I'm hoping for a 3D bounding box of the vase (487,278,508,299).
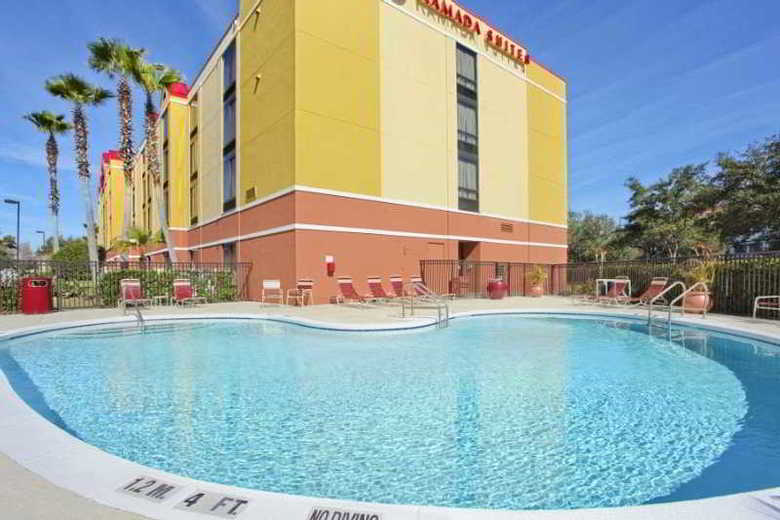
[{"bbox_3d":[5.568,1.516,26.418,0.991,1.010,0.997,-1,5,10],"label":"vase"}]

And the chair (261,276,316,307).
[{"bbox_3d":[-4.803,1.465,23.560,2.860,1.310,1.191,-4,-4,29],"label":"chair"}]

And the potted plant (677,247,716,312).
[{"bbox_3d":[12.009,0.913,19.741,1.207,1.557,3.273,-4,-4,33],"label":"potted plant"}]

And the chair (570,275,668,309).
[{"bbox_3d":[10.984,1.530,23.225,2.843,1.086,1.591,1,-5,-12],"label":"chair"}]
